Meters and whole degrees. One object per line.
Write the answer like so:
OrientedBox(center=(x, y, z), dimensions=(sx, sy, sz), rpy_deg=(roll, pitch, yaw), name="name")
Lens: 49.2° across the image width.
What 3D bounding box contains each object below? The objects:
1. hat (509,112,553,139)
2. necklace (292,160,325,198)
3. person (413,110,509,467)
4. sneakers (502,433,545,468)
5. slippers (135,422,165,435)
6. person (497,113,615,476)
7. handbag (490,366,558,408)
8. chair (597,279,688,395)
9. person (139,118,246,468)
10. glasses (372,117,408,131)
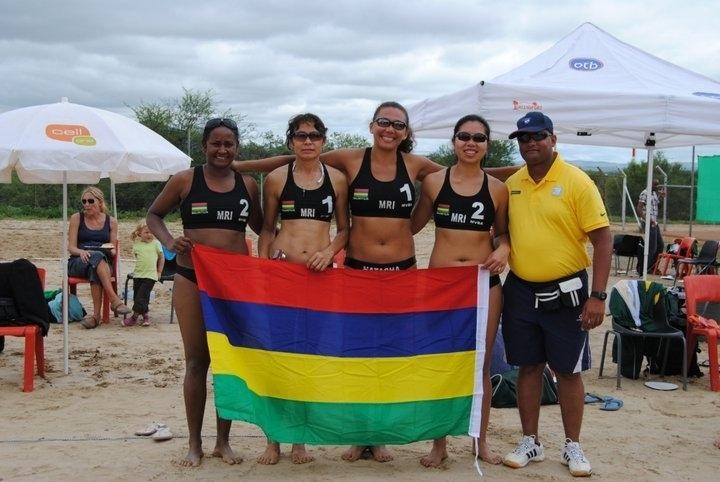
OrientedBox(center=(1.829, -1.237, 8.417), dimensions=(0.401, 0.184, 0.266), rpy_deg=(1, -2, -33), name="hat")
OrientedBox(center=(-0.587, -0.652, 8.563), dimensions=(0.356, 0.376, 0.100), rpy_deg=(-5, -8, -5), name="necklace")
OrientedBox(center=(1.229, 0.490, 8.714), dimensions=(1.254, 3.695, 0.721), rpy_deg=(13, 17, 43), name="person")
OrientedBox(center=(1.781, 2.285, 8.593), dimensions=(0.629, 0.278, 0.219), rpy_deg=(0, 5, -43), name="sneakers")
OrientedBox(center=(-2.459, 2.165, 9.068), dimensions=(0.241, 0.084, 0.139), rpy_deg=(0, -6, -19), name="slippers")
OrientedBox(center=(2.047, 0.555, 8.423), dimensions=(1.132, 3.782, 0.862), rpy_deg=(4, 13, 13), name="person")
OrientedBox(center=(2.085, 1.915, 10.202), dimensions=(1.052, 0.459, 0.434), rpy_deg=(-1, 3, -32), name="handbag")
OrientedBox(center=(3.879, 1.242, 10.760), dimensions=(1.011, 1.251, 0.865), rpy_deg=(4, 2, -7), name="chair")
OrientedBox(center=(-1.674, 0.503, 8.564), dimensions=(1.548, 3.618, 1.195), rpy_deg=(2, -5, -12), name="person")
OrientedBox(center=(0.311, -1.280, 8.635), dimensions=(0.346, 0.119, 0.093), rpy_deg=(0, 12, -6), name="glasses")
